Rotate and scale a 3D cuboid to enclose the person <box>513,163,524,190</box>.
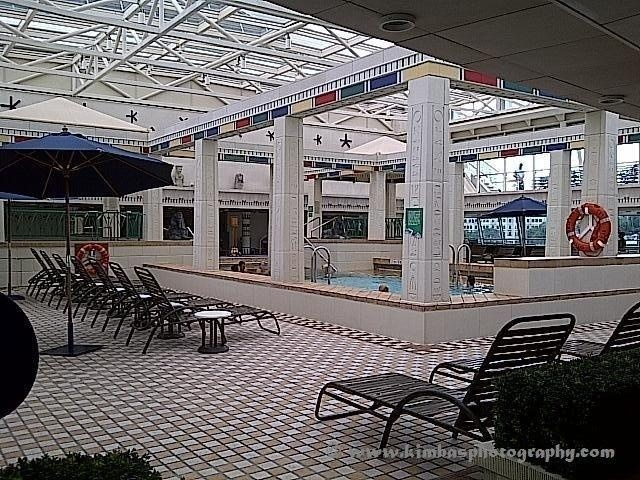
[{"bbox_3d":[10.540,-3.359,27.524,0.398,1.540,0.633,1,1,2],"label":"person"}]

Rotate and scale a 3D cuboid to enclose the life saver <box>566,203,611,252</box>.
[{"bbox_3d":[5.186,-0.207,10.101,0.790,1.024,0.512,2,1,37],"label":"life saver"}]

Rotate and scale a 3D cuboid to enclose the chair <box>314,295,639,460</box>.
[{"bbox_3d":[1.024,1.067,4.124,1.291,1.043,2.123,-1,2,-32],"label":"chair"}]
